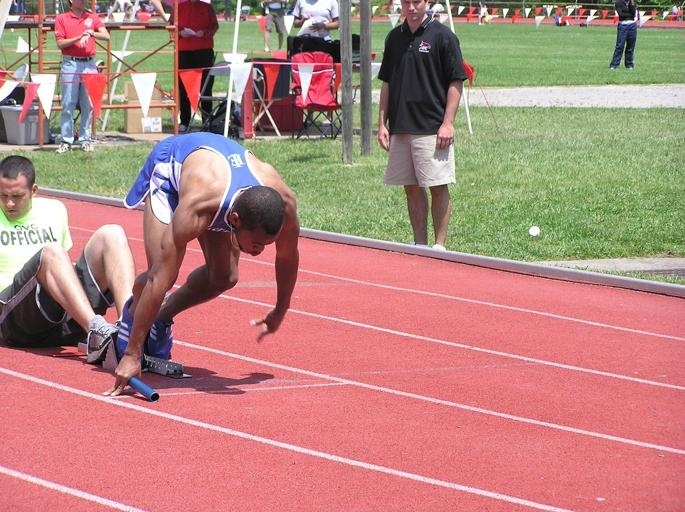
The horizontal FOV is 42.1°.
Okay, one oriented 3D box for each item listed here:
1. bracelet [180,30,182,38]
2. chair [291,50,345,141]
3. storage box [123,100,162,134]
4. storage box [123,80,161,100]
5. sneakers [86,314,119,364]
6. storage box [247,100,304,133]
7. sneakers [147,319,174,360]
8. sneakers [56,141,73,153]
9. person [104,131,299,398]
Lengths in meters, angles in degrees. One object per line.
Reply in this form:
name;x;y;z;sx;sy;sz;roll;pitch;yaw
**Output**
bracelet;-2.515;-3.470;13.801;0.022;0.072;0.068;1;-31;6
chair;-0.430;-2.347;12.771;0.719;1.340;0.892;-2;4;-3
storage box;-3.303;-2.271;14.748;0.638;0.414;0.486;-6;13;-27
storage box;-3.366;-2.746;14.846;0.466;0.327;0.502;0;10;-7
sneakers;-1.446;0.498;5.213;0.138;0.192;0.356;2;-6;-28
storage box;-1.030;-2.307;14.572;0.627;0.452;0.665;0;8;-4
sneakers;-1.100;0.514;5.322;0.113;0.256;0.335;8;-13;-19
sneakers;-3.904;-1.527;12.437;0.106;0.140;0.309;10;5;6
person;-0.789;0.059;4.926;1.071;1.434;0.939;0;11;-4
